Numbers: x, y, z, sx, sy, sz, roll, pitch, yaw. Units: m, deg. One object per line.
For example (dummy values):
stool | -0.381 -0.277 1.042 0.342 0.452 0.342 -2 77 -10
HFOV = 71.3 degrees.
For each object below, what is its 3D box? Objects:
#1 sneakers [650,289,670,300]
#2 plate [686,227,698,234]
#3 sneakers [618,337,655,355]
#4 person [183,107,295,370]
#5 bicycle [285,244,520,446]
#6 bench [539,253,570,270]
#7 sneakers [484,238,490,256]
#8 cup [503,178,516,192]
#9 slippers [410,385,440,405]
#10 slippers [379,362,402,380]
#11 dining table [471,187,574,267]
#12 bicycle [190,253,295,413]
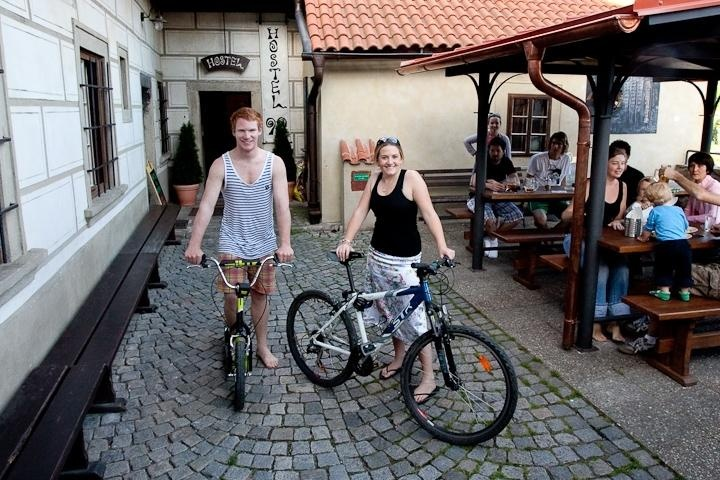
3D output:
sneakers | 3.199 0.576 5.352 0.081 0.072 0.171 -6 18 -14
plate | 3.802 -0.100 5.751 0.122 0.029 0.125 -12 27 -5
sneakers | 3.073 1.174 5.549 0.158 0.134 0.395 -1 -15 -25
person | -1.205 0.063 4.846 1.217 2.444 1.092 -5 15 -30
bicycle | 0.393 0.866 4.744 2.281 1.557 0.699 10 19 32
bench | 2.531 0.268 6.402 0.214 0.061 0.317 -2 16 -8
sneakers | 2.177 0.127 8.603 0.101 0.273 0.112 -2 7 13
cup | 2.507 -0.935 8.368 0.168 0.275 0.272 0 3 0
slippers | 0.657 1.486 4.885 0.353 0.080 0.137 -1 3 -34
slippers | 0.314 1.357 5.243 0.327 0.075 0.124 -5 13 -27
dining table | 2.610 -0.253 8.343 1.644 0.764 0.863 -2 12 -11
bicycle | -1.152 0.815 4.835 0.969 1.001 1.576 1 8 -12
